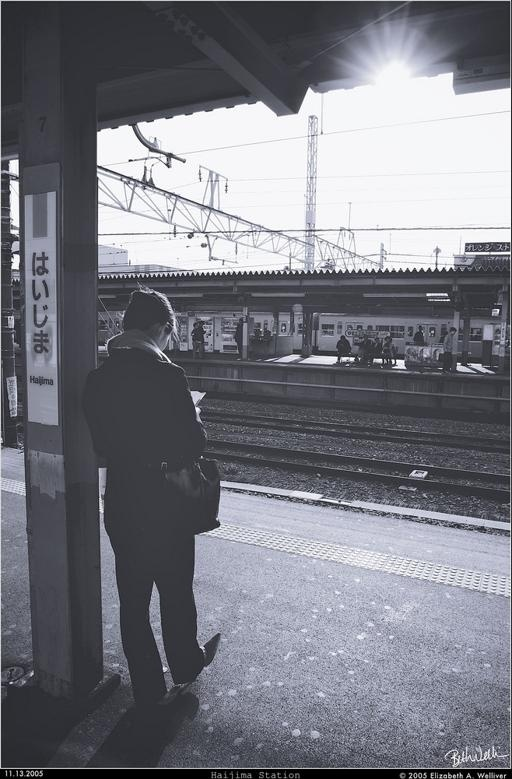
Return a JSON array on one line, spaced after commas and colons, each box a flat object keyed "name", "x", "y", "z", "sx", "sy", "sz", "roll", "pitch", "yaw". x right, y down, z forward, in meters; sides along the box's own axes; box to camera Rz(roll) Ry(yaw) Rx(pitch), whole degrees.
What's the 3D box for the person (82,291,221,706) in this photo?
[{"name": "person", "x": -0.472, "y": 0.513, "z": 2.923, "sx": 0.411, "sy": 1.895, "sz": 0.457, "roll": -4, "pitch": 15, "yaw": -8}]
